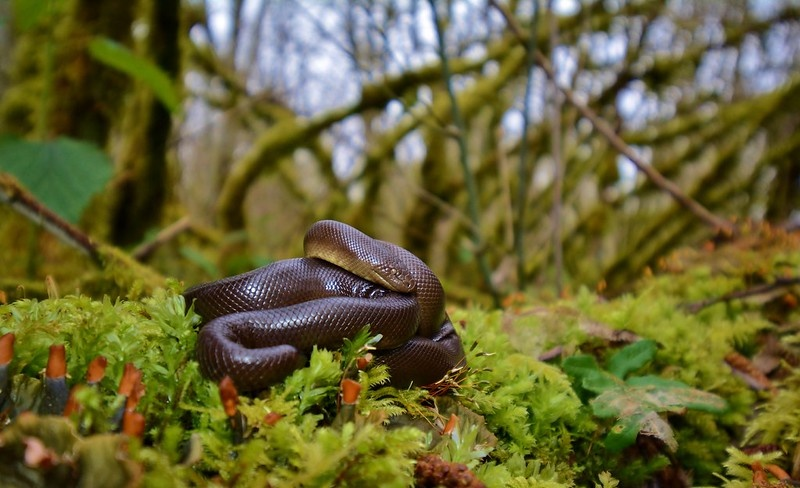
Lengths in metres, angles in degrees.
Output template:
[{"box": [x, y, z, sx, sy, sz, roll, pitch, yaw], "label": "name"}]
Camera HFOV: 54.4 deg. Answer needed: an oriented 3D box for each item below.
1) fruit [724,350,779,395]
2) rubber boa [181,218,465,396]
[{"box": [2.356, 0.864, 5.243, 0.279, 0.183, 0.221, -1, 22, -10], "label": "fruit"}, {"box": [-0.445, 0.381, 4.809, 1.211, 0.497, 0.972, -2, 31, -13], "label": "rubber boa"}]
